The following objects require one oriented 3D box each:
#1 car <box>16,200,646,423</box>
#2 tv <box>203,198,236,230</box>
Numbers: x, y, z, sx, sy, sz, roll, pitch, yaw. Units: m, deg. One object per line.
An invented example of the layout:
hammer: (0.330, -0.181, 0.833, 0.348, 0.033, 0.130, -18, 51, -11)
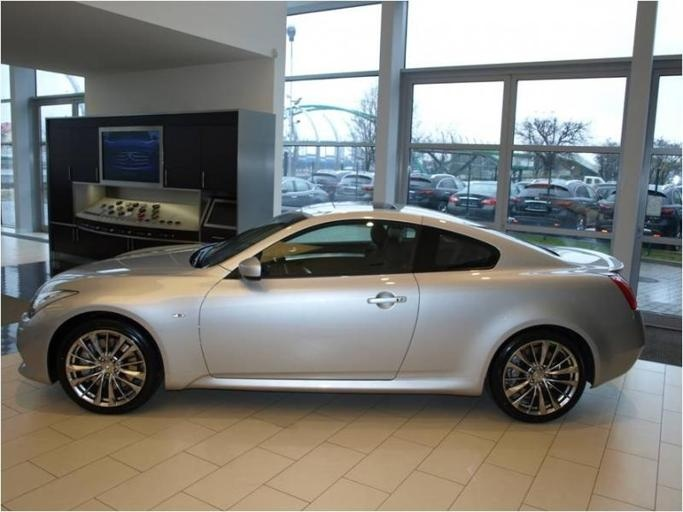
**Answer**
car: (-0.140, 0.514, 3.819, 4.577, 1.276, 1.805, 3, 6, 0)
tv: (-1.788, -0.602, 6.599, 0.470, 0.312, 0.018, 33, 2, 17)
